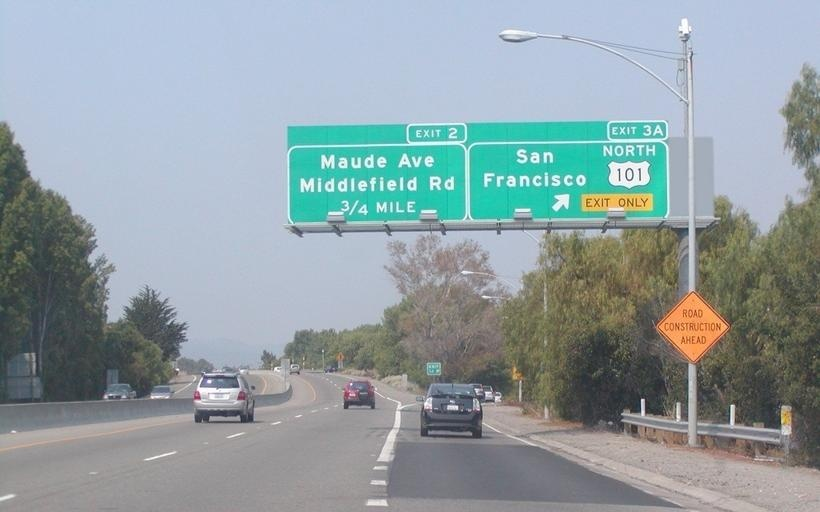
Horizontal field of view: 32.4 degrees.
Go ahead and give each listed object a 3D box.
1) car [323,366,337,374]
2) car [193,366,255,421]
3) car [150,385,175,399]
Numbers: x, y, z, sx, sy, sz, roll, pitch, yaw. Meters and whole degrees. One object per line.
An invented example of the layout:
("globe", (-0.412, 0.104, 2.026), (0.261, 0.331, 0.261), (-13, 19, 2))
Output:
("car", (-14.130, 19.609, 249.134), (1.512, 1.299, 2.260), (5, -12, -41))
("car", (-10.304, 7.624, 79.440), (1.891, 1.912, 3.844), (0, 1, 0))
("car", (-19.447, 10.494, 110.715), (1.419, 1.211, 2.715), (4, -13, -16))
